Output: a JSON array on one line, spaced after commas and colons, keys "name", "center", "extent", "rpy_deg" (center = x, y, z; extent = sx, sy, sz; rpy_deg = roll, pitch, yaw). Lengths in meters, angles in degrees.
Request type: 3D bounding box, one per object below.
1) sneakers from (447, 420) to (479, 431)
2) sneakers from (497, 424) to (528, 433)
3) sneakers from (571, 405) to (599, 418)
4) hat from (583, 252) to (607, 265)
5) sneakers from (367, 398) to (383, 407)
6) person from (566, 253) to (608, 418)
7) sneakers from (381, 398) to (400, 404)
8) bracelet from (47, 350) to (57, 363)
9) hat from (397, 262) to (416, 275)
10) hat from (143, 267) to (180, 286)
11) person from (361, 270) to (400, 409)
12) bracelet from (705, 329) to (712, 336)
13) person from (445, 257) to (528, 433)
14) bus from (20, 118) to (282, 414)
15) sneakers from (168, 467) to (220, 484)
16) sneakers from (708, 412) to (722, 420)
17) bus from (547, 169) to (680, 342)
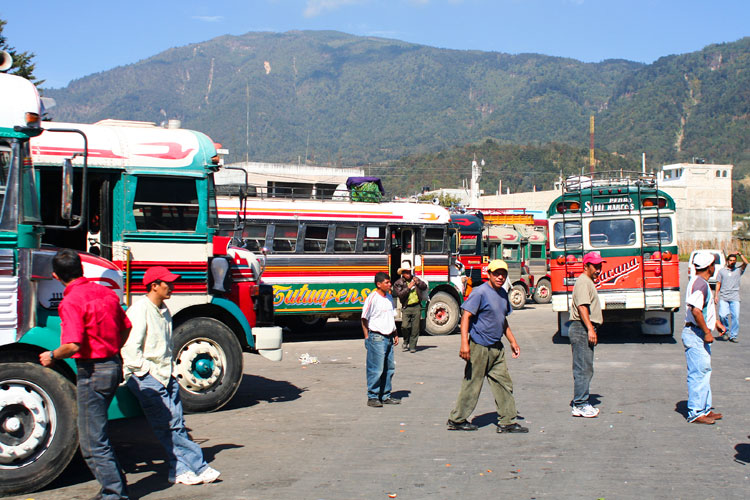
[{"name": "sneakers", "center": [1.442, 2.896, 16.111], "extent": [0.518, 0.197, 0.176], "rpy_deg": [0, 4, 0]}, {"name": "sneakers", "center": [2.256, 2.936, 16.030], "extent": [0.464, 0.189, 0.185], "rpy_deg": [-2, 2, -3]}, {"name": "sneakers", "center": [3.605, 2.748, 16.756], "extent": [0.460, 0.203, 0.183], "rpy_deg": [-2, 3, 12]}, {"name": "hat", "center": [3.789, 0.146, 17.183], "extent": [0.221, 0.147, 0.283], "rpy_deg": [-1, -3, -40]}, {"name": "sneakers", "center": [0.026, 2.742, 17.552], "extent": [0.112, 0.126, 0.279], "rpy_deg": [5, -13, -30]}, {"name": "person", "center": [3.631, 1.463, 16.931], "extent": [0.511, 2.765, 0.593], "rpy_deg": [1, 2, 24]}, {"name": "sneakers", "center": [0.307, 2.739, 17.738], "extent": [0.221, 0.088, 0.121], "rpy_deg": [-1, -1, -3]}, {"name": "bracelet", "center": [-4.370, 1.440, 13.317], "extent": [0.108, 0.159, 0.163], "rpy_deg": [3, 37, -7]}, {"name": "hat", "center": [0.744, 0.406, 23.409], "extent": [0.291, 0.131, 0.344], "rpy_deg": [-27, -6, 37]}, {"name": "hat", "center": [-3.116, 0.359, 14.232], "extent": [0.437, 0.215, 0.297], "rpy_deg": [-1, 4, -10]}, {"name": "person", "center": [0.134, 1.606, 17.822], "extent": [0.691, 2.351, 0.781], "rpy_deg": [0, 2, -10]}, {"name": "bracelet", "center": [5.578, 1.376, 16.375], "extent": [0.090, 0.083, 0.088], "rpy_deg": [0, -15, 8]}, {"name": "person", "center": [1.855, 1.565, 16.045], "extent": [1.123, 2.795, 0.931], "rpy_deg": [1, 2, 25]}, {"name": "bus", "center": [-4.069, 0.005, 18.059], "extent": [5.775, 3.399, 3.258], "rpy_deg": [0, 1, -25]}, {"name": "sneakers", "center": [-2.582, 3.259, 14.057], "extent": [0.679, 0.292, 0.241], "rpy_deg": [-5, 0, -3]}, {"name": "sneakers", "center": [5.751, 2.783, 16.527], "extent": [0.341, 0.136, 0.124], "rpy_deg": [-1, 6, 15]}, {"name": "bus", "center": [6.210, 0.035, 26.159], "extent": [2.727, 2.868, 4.647], "rpy_deg": [-1, -3, 9]}]
